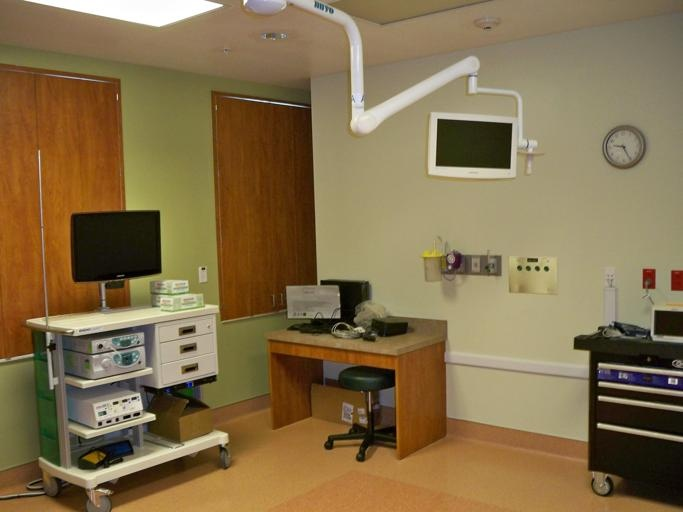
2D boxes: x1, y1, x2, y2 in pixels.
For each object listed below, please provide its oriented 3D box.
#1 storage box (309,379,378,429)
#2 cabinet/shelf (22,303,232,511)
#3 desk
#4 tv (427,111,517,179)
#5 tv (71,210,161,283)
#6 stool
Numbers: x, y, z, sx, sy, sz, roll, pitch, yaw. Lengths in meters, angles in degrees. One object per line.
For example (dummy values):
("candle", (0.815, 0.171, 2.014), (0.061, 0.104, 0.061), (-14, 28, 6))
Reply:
("storage box", (-0.026, 1.454, 5.453), (0.614, 0.309, 0.336), (2, 2, 35))
("cabinet/shelf", (-1.712, 1.182, 4.322), (0.787, 1.354, 1.404), (0, 3, 35))
("desk", (0.130, 1.184, 5.244), (1.492, 0.993, 0.839), (0, 5, 38))
("tv", (0.785, -0.662, 3.396), (0.687, 0.399, 0.209), (-10, 12, -38))
("tv", (-1.852, -0.087, 4.517), (0.567, 0.454, 0.077), (-4, 6, -42))
("stool", (0.222, 1.346, 4.883), (0.677, 0.690, 0.734), (-1, 1, 3))
